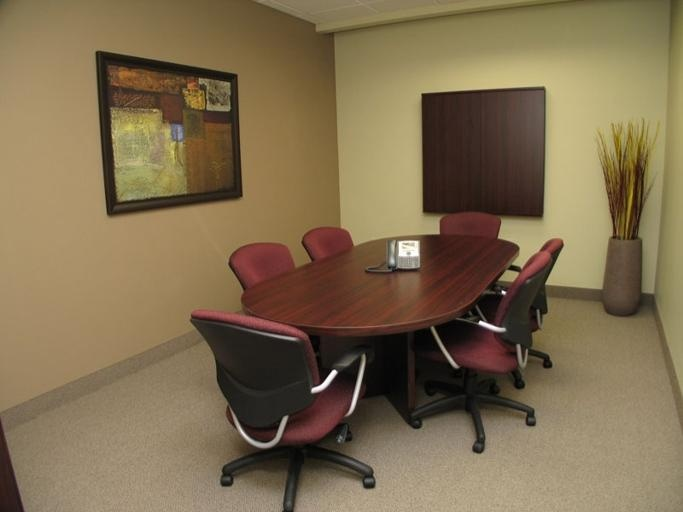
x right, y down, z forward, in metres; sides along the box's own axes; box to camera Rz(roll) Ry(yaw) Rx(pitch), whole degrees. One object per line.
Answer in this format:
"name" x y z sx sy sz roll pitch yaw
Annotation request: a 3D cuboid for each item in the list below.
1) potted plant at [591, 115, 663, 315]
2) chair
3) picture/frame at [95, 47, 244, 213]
"potted plant" 2.933 -0.409 5.500 0.584 1.961 0.693 5 17 32
"chair" 0.411 0.495 4.254 3.146 1.350 2.240 -10 15 -20
"picture/frame" -1.595 -1.149 4.706 0.096 1.391 1.541 4 7 32
